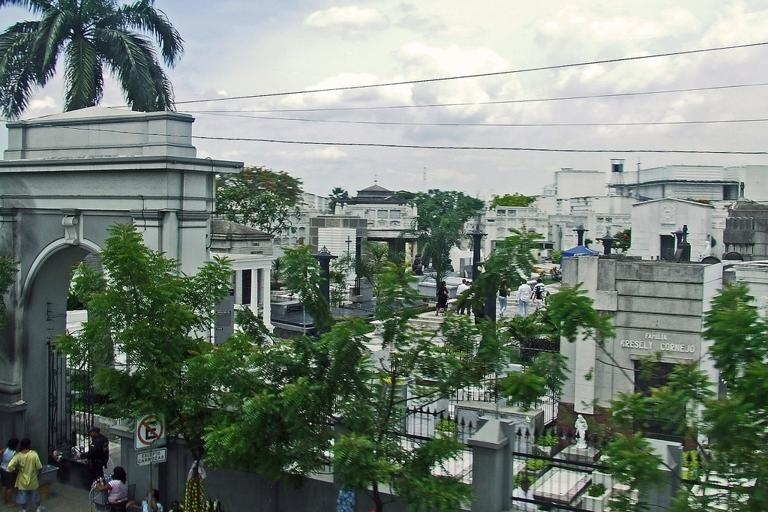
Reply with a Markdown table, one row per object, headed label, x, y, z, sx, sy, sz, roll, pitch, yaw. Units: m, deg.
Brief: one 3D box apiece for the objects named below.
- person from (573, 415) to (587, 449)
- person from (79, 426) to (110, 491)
| label | x | y | z | sx | sy | sz | roll | pitch | yaw |
| --- | --- | --- | --- | --- | --- | --- | --- | --- | --- |
| person | 5.192 | 4.649 | 22.312 | 0.292 | 0.774 | 0.855 | 1 | -1 | 13 |
| person | -7.441 | 5.257 | 21.791 | 0.833 | 1.731 | 0.689 | 5 | 14 | 10 |
